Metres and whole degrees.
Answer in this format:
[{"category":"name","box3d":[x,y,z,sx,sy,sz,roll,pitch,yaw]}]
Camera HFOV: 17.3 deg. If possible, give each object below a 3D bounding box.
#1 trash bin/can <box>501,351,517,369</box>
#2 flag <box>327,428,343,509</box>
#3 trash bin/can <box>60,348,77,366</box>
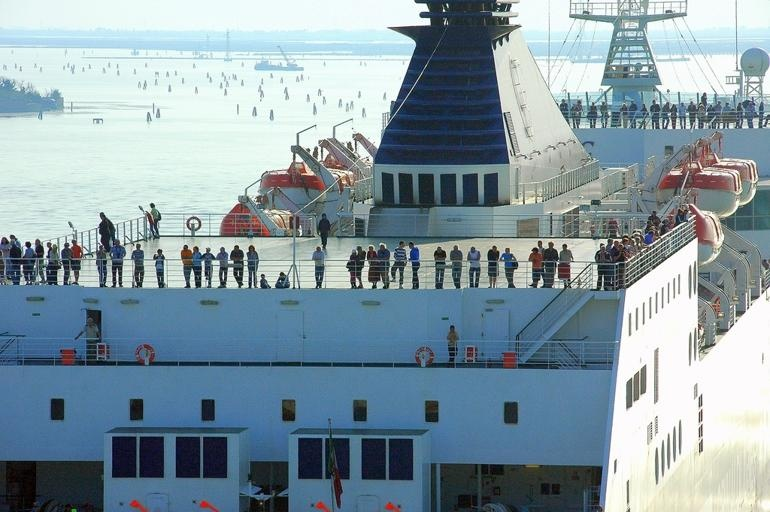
[{"category":"trash bin/can","box3d":[7.233,6.197,145.487,0.815,0.915,0.831,0,2,-11]},{"category":"flag","box3d":[-2.831,12.438,144.343,0.724,4.478,0.458,-1,-3,-3]},{"category":"trash bin/can","box3d":[-18.424,6.012,145.873,0.754,0.794,0.624,2,10,6]}]
